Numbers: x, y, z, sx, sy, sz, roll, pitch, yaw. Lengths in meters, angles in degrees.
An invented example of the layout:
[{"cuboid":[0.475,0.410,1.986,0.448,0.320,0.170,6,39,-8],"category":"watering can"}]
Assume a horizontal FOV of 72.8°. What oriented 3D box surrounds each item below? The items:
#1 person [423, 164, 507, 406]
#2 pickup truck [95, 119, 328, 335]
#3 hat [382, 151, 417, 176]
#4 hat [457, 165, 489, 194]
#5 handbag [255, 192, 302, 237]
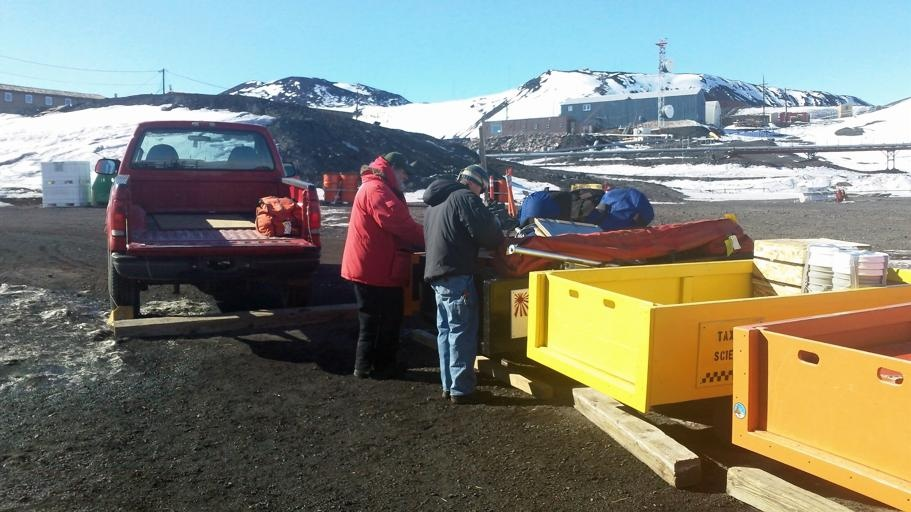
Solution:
[{"cuboid":[0.057,0.318,7.243,0.704,2.628,0.736,-9,12,-37],"category":"person"},{"cuboid":[-4.237,-0.939,10.531,2.940,2.424,5.504,-2,15,-25],"category":"pickup truck"},{"cuboid":[-0.695,-1.139,7.718,0.392,0.211,0.233,25,12,-35],"category":"hat"},{"cuboid":[0.212,-0.932,7.512,0.325,0.344,0.405,25,23,27],"category":"hat"},{"cuboid":[-2.617,-0.575,9.236,0.568,0.544,0.602,-6,10,-27],"category":"handbag"}]
